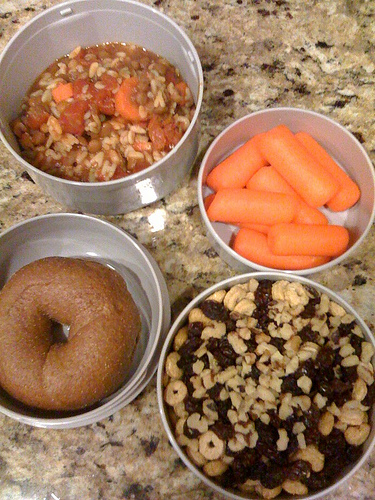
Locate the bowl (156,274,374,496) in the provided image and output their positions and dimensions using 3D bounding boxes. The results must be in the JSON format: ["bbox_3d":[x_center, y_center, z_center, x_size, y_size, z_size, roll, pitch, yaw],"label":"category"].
[{"bbox_3d":[0.215,0.356,1.284,0.583,0.253,0.547,-2,59,4],"label":"bowl"}]

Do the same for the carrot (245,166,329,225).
[{"bbox_3d":[0.315,-0.171,1.500,0.259,0.078,0.123,47,107,12],"label":"carrot"}]

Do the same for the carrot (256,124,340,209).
[{"bbox_3d":[0.316,-0.242,1.423,0.153,0.101,0.296,-39,85,3],"label":"carrot"}]

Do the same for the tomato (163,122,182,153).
[{"bbox_3d":[-0.043,-0.312,1.328,0.058,0.017,0.071,-4,92,-12],"label":"tomato"}]

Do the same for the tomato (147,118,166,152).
[{"bbox_3d":[-0.084,-0.316,1.311,0.049,0.020,0.084,-9,87,-2],"label":"tomato"}]

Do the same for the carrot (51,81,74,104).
[{"bbox_3d":[-0.354,-0.443,1.349,0.062,0.016,0.059,-6,93,6],"label":"carrot"}]

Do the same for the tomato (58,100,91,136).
[{"bbox_3d":[-0.309,-0.357,1.344,0.071,0.051,0.091,28,88,0],"label":"tomato"}]

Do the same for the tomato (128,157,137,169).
[{"bbox_3d":[-0.154,-0.241,1.336,0.022,0.027,0.024,4,60,8],"label":"tomato"}]

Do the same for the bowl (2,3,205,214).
[{"bbox_3d":[-0.233,-0.371,1.362,0.550,0.438,0.535,-2,59,4],"label":"bowl"}]

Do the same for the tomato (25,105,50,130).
[{"bbox_3d":[-0.424,-0.366,1.337,0.063,0.018,0.059,9,95,-5],"label":"tomato"}]

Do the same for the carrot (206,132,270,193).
[{"bbox_3d":[0.155,-0.246,1.482,0.246,0.083,0.112,-42,71,0],"label":"carrot"}]

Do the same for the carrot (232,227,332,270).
[{"bbox_3d":[0.281,0.012,1.411,0.250,0.070,0.124,10,39,5],"label":"carrot"}]

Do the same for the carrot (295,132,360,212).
[{"bbox_3d":[0.432,-0.234,1.472,0.082,0.126,0.276,-33,81,-29],"label":"carrot"}]

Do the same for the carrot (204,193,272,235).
[{"bbox_3d":[0.155,-0.079,1.456,0.146,0.149,0.039,39,107,49],"label":"carrot"}]

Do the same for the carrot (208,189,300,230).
[{"bbox_3d":[0.205,-0.122,1.446,0.305,0.134,0.097,-4,86,-16],"label":"carrot"}]

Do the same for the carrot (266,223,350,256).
[{"bbox_3d":[0.353,-0.028,1.399,0.245,0.108,0.094,1,86,16],"label":"carrot"}]
